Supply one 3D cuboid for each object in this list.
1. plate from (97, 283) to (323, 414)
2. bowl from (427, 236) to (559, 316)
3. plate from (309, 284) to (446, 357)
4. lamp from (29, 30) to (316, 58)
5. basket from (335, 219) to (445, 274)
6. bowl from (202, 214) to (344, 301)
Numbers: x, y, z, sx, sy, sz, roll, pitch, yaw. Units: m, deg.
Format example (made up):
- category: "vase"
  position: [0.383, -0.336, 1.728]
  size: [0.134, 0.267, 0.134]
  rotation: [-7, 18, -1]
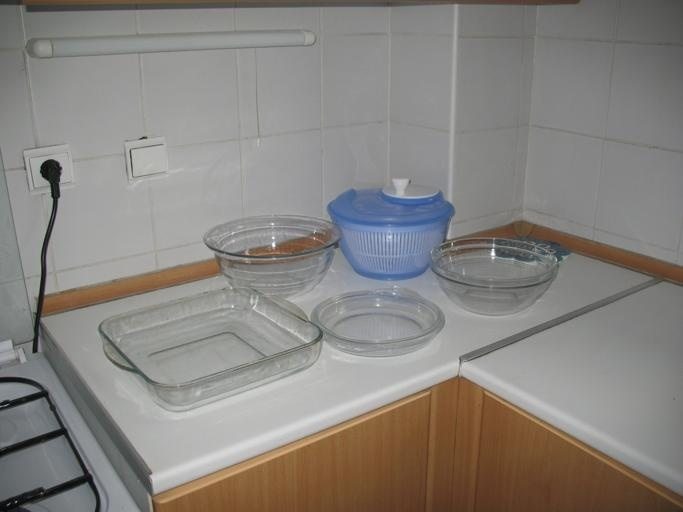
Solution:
- category: "plate"
  position: [-0.297, 0.180, 1.146]
  size: [0.306, 0.058, 0.265]
  rotation: [-15, 26, -35]
- category: "bowl"
  position: [0.383, 0.047, 1.340]
  size: [0.334, 0.137, 0.319]
  rotation: [-2, 17, 0]
- category: "plate"
  position: [0.077, 0.150, 1.203]
  size: [0.291, 0.067, 0.255]
  rotation: [-3, 17, -4]
- category: "lamp"
  position: [-0.412, -0.495, 1.222]
  size: [0.725, 0.066, 0.072]
  rotation: [-9, 1, -20]
- category: "basket"
  position: [0.130, -0.024, 1.388]
  size: [0.174, 0.068, 0.180]
  rotation: [-2, 17, -3]
- category: "bowl"
  position: [-0.177, 0.016, 1.388]
  size: [0.327, 0.155, 0.341]
  rotation: [-1, 20, 0]
